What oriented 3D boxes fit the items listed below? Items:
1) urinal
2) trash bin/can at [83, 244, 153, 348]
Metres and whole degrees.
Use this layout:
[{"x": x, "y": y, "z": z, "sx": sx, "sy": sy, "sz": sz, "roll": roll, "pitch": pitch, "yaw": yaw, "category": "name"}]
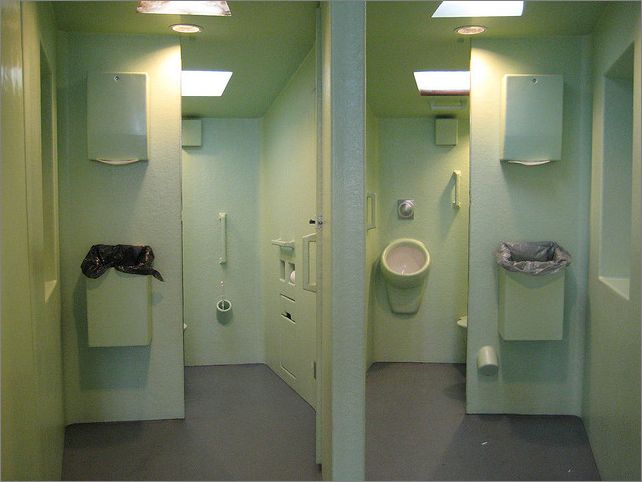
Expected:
[{"x": 0.784, "y": 0.343, "z": 5.490, "sx": 0.527, "sy": 0.637, "sz": 0.447, "roll": 4, "pitch": 9, "yaw": 5, "category": "urinal"}, {"x": -1.586, "y": 0.413, "z": 4.389, "sx": 0.555, "sy": 0.760, "sz": 0.426, "roll": 6, "pitch": 7, "yaw": -18, "category": "trash bin/can"}]
